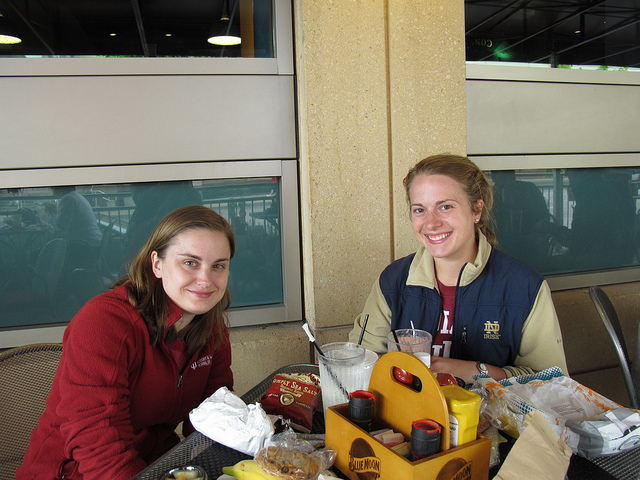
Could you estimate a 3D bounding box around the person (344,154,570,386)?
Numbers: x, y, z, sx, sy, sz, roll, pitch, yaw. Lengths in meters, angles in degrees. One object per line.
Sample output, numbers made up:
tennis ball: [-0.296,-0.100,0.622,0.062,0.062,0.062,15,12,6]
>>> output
person: [0.539,0.091,2.034,0.676,0.874,0.573,-8,9,-20]

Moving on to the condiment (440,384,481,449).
condiment: [0.369,0.472,1.338,0.096,0.131,0.094,-7,9,-16]

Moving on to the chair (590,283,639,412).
chair: [1.407,0.496,2.362,0.207,0.553,0.345,0,10,29]

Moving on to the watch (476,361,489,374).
watch: [0.608,0.473,1.840,0.028,0.011,0.036,6,19,-16]

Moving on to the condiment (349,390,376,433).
condiment: [0.119,0.509,1.409,0.067,0.112,0.068,1,-7,-10]

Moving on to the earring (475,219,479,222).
earring: [0.676,-0.084,2.133,0.014,0.018,0.049,-1,10,23]
